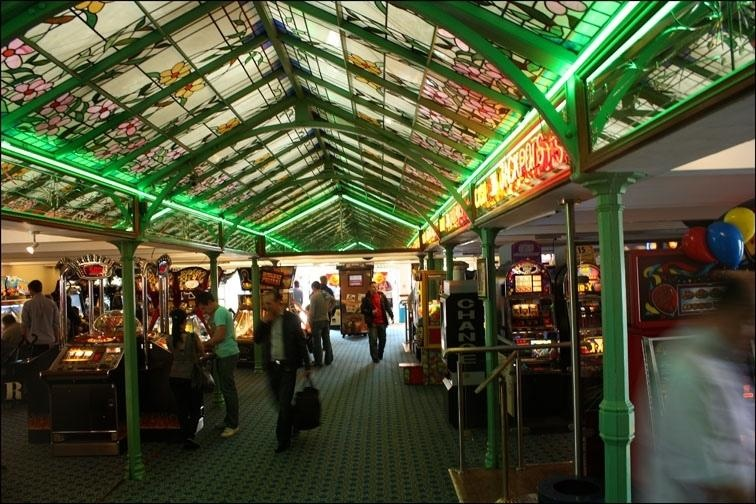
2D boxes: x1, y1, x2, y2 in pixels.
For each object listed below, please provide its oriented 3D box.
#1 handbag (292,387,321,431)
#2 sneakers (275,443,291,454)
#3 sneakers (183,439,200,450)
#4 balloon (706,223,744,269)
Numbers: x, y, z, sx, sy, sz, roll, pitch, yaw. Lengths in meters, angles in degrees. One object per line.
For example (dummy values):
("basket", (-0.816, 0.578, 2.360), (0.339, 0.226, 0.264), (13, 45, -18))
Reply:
("handbag", (-1.068, 2.324, 8.111), (0.408, 0.626, 0.231), (-3, 3, -9))
("sneakers", (-1.368, 2.830, 7.930), (0.234, 0.118, 0.090), (-5, 3, -37))
("sneakers", (-2.791, 2.891, 8.177), (0.132, 0.213, 0.088), (-7, 19, 7))
("balloon", (4.000, -0.095, 6.335), (0.272, 0.541, 0.379), (-5, 4, -43))
